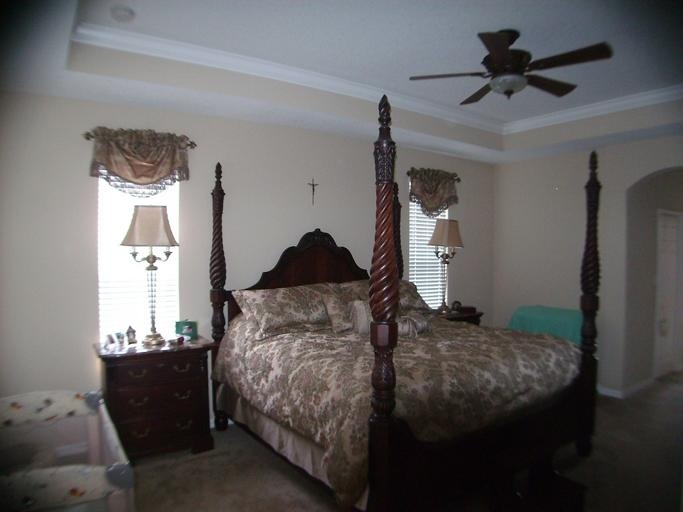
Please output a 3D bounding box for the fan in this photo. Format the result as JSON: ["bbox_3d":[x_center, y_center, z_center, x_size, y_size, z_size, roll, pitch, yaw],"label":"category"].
[{"bbox_3d":[1.336,-1.484,3.980,1.063,0.515,0.978,-2,13,-2],"label":"fan"}]

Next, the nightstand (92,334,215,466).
[{"bbox_3d":[-1.587,1.176,4.663,0.858,1.044,0.679,-6,17,-18],"label":"nightstand"}]

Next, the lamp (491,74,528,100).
[{"bbox_3d":[1.271,-1.293,3.989,0.171,0.094,0.180,4,-17,-4],"label":"lamp"}]
